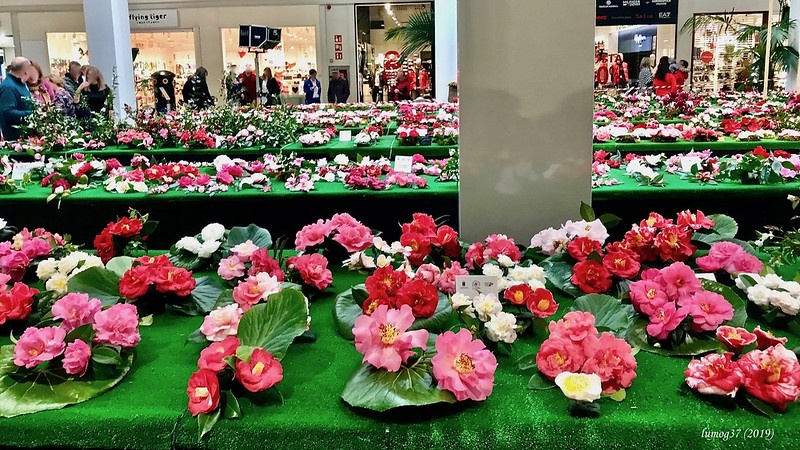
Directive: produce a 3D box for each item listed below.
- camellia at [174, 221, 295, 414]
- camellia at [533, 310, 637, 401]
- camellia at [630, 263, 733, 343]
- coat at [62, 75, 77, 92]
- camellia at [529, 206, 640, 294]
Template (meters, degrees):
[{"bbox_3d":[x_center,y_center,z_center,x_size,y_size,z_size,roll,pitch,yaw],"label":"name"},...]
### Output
[{"bbox_3d":[-0.561,0.350,1.730,0.396,0.709,0.311,4,2,-8],"label":"camellia"},{"bbox_3d":[0.609,0.382,1.560,0.266,0.273,0.199,0,3,41],"label":"camellia"},{"bbox_3d":[1.015,0.273,1.737,0.195,0.308,0.274,4,1,26],"label":"camellia"},{"bbox_3d":[-5.219,-2.244,7.574,0.105,0.292,0.229,-25,-7,-34],"label":"coat"},{"bbox_3d":[0.784,0.132,2.073,0.408,0.166,0.404,10,36,21],"label":"camellia"}]
